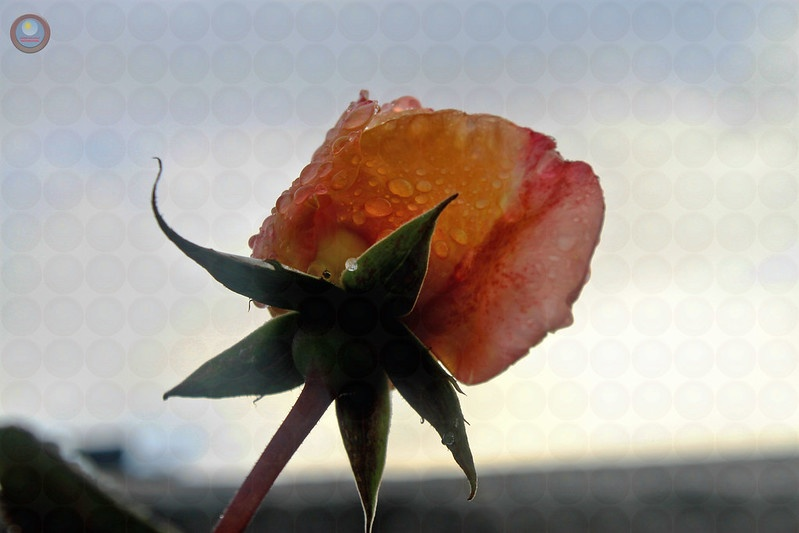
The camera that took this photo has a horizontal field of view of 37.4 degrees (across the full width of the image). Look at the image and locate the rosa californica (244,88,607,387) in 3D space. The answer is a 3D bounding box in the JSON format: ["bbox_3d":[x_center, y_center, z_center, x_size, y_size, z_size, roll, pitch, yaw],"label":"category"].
[{"bbox_3d":[0.018,-0.022,1.304,0.378,0.365,0.207,2,57,33],"label":"rosa californica"}]
